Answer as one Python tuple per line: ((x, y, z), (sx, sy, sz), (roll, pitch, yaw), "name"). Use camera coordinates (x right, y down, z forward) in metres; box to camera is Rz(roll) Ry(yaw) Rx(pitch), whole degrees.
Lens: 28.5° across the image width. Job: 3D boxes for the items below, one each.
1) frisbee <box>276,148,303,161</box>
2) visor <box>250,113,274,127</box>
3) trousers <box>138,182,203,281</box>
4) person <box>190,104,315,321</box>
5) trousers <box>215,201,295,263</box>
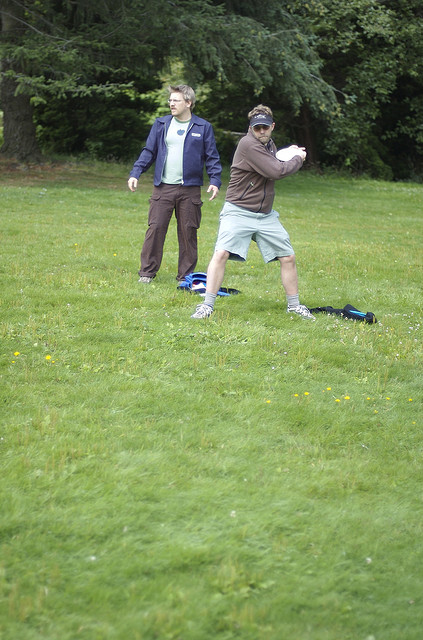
((0.653, -1.434, 7.192), (0.248, 0.124, 0.171), (12, 10, 23), "frisbee")
((0.419, -1.685, 7.028), (0.182, 0.126, 0.228), (8, 10, 0), "visor")
((-0.410, -0.928, 8.751), (0.591, 1.034, 0.414), (10, 10, -3), "trousers")
((0.437, -0.905, 7.237), (0.927, 1.851, 0.540), (9, 11, -7), "person")
((0.325, -0.798, 7.338), (0.888, 0.560, 0.300), (-2, -6, -34), "trousers")
